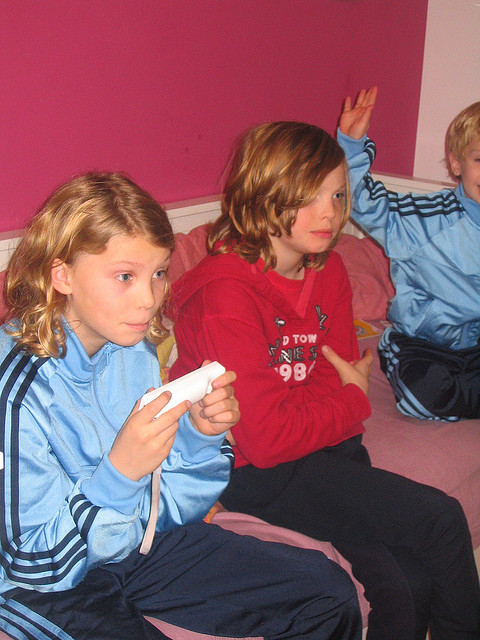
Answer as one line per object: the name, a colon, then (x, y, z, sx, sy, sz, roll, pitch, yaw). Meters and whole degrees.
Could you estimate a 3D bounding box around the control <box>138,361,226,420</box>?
control: (-0.077, 0.110, 0.892, 0.039, 0.060, 0.140, 1, 11, 38)

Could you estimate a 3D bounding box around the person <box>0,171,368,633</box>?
person: (-0.165, 0.156, 0.965, 0.547, 0.807, 0.388, -11, 11, -23)
